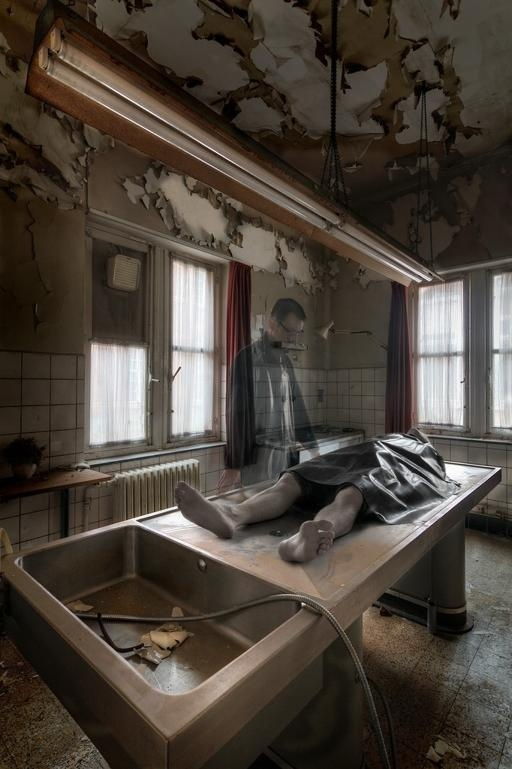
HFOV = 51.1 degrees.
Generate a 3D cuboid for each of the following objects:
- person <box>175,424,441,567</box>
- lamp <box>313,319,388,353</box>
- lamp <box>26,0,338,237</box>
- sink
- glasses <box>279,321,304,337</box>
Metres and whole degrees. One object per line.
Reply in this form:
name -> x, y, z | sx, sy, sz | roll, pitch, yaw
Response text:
person -> 0.229, 0.308, 1.654 | 0.346, 0.229, 0.818 | -21, -3, 39
lamp -> 0.807, -0.408, 4.455 | 0.443, 0.084, 0.170 | 17, -31, 7
lamp -> 0.092, -0.472, 1.697 | 0.260, 0.279, 1.847 | -27, -11, 19
sink -> -0.206, 0.482, 1.207 | 0.616, 0.159, 0.324 | 5, 7, 30
glasses -> 0.148, -0.222, 2.265 | 0.062, 0.021, 0.067 | 5, -22, -20
